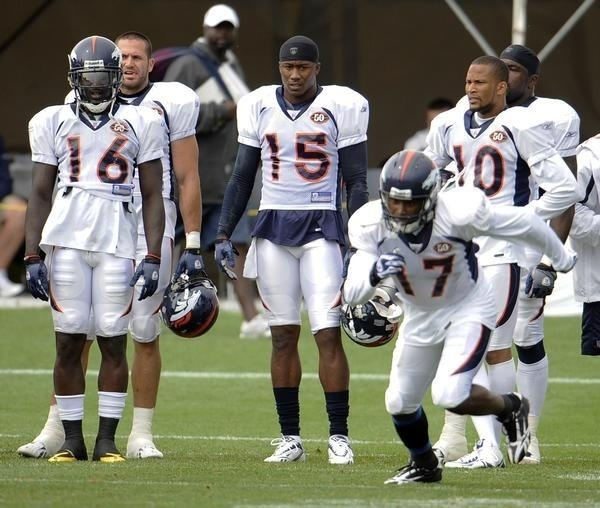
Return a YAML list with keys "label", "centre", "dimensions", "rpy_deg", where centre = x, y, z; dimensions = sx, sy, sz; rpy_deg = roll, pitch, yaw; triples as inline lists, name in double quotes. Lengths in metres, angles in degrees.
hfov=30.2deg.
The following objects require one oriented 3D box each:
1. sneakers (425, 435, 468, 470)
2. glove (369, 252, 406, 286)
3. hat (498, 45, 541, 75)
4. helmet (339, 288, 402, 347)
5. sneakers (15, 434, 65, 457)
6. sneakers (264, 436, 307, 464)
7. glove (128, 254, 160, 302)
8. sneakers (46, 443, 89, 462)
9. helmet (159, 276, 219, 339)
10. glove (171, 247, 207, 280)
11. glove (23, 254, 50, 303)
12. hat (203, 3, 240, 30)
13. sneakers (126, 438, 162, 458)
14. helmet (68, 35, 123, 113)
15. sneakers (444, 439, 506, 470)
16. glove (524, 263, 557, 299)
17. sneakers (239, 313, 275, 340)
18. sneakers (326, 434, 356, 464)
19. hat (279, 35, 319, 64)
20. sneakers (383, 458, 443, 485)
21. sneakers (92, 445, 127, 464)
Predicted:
- label: "sneakers"
  centre: [0.892, 1.152, 6.560]
  dimensions: [0.316, 0.249, 0.113]
  rpy_deg: [1, -6, -29]
- label: "glove"
  centre: [0.424, 0.078, 5.490]
  dimensions: [0.178, 0.177, 0.129]
  rpy_deg: [2, 5, 27]
- label: "hat"
  centre: [1.384, -1.214, 6.892]
  dimensions: [0.237, 0.139, 0.177]
  rpy_deg: [22, 12, -40]
- label: "helmet"
  centre: [0.444, 0.354, 6.580]
  dimensions: [0.344, 0.364, 0.280]
  rpy_deg: [16, 11, 11]
- label: "sneakers"
  centre: [-1.514, 1.111, 6.448]
  dimensions: [0.098, 0.134, 0.292]
  rpy_deg: [-6, -11, 25]
- label: "sneakers"
  centre: [-0.091, 1.132, 6.426]
  dimensions: [0.231, 0.136, 0.268]
  rpy_deg: [0, 5, 0]
- label: "glove"
  centre: [-0.879, 0.126, 6.283]
  dimensions: [0.179, 0.257, 0.147]
  rpy_deg: [-2, 5, -21]
- label: "sneakers"
  centre: [-1.287, 1.098, 6.173]
  dimensions: [0.171, 0.077, 0.097]
  rpy_deg: [6, -10, -24]
- label: "helmet"
  centre: [-0.647, 0.336, 6.668]
  dimensions: [0.277, 0.367, 0.373]
  rpy_deg: [2, 15, 5]
- label: "glove"
  centre: [-0.673, 0.058, 6.718]
  dimensions: [0.188, 0.176, 0.144]
  rpy_deg: [-29, -18, 17]
- label: "glove"
  centre: [-1.469, 0.124, 6.222]
  dimensions: [0.149, 0.230, 0.093]
  rpy_deg: [-9, 3, 3]
- label: "hat"
  centre: [-0.771, -2.353, 10.905]
  dimensions: [0.311, 0.235, 0.294]
  rpy_deg: [-1, 5, -10]
- label: "sneakers"
  centre: [-0.912, 1.118, 6.411]
  dimensions: [0.097, 0.085, 0.211]
  rpy_deg: [0, -10, -31]
- label: "helmet"
  centre: [-1.166, -1.028, 6.338]
  dimensions: [0.299, 0.457, 0.266]
  rpy_deg: [-1, 5, -11]
- label: "sneakers"
  centre: [1.015, 1.145, 6.393]
  dimensions: [0.414, 0.221, 0.142]
  rpy_deg: [1, -5, 10]
- label: "glove"
  centre: [1.374, 0.135, 6.366]
  dimensions: [0.181, 0.149, 0.172]
  rpy_deg: [-23, 19, -21]
- label: "sneakers"
  centre: [-0.454, 0.754, 11.622]
  dimensions: [0.170, 0.229, 0.465]
  rpy_deg: [3, -7, -29]
- label: "sneakers"
  centre: [0.237, 1.138, 6.469]
  dimensions: [0.131, 0.157, 0.369]
  rpy_deg: [0, -3, -2]
- label: "hat"
  centre: [-0.006, -1.230, 6.677]
  dimensions: [0.170, 0.125, 0.178]
  rpy_deg: [3, 2, -19]
- label: "sneakers"
  centre: [0.596, 1.118, 5.807]
  dimensions: [0.327, 0.160, 0.118]
  rpy_deg: [0, -2, -11]
- label: "sneakers"
  centre: [-1.067, 1.105, 6.189]
  dimensions: [0.171, 0.074, 0.130]
  rpy_deg: [-1, 5, -12]
